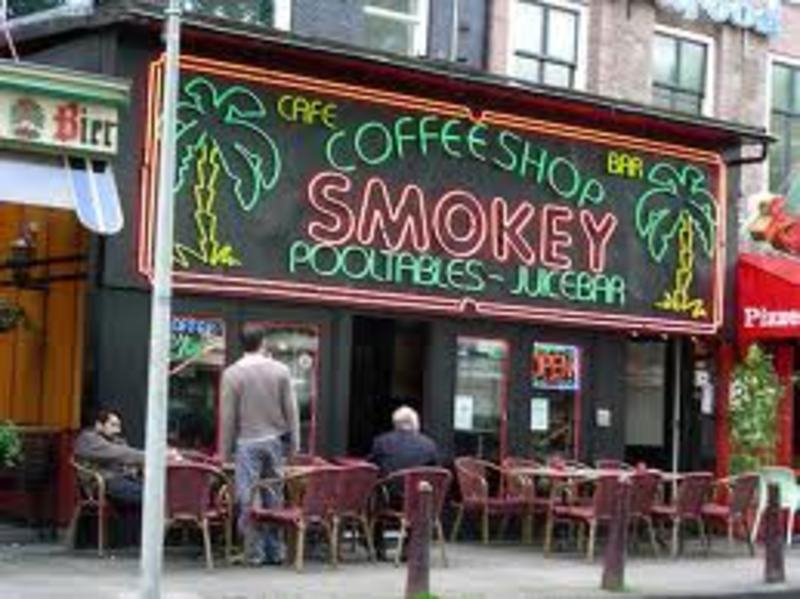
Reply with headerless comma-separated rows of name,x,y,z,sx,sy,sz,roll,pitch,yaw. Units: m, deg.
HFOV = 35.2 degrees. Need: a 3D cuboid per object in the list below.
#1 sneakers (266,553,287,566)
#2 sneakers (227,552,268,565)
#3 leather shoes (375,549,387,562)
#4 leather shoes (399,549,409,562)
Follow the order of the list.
sneakers,-1.343,2.826,13.543,0.226,0.092,0.080,-5,-8,27
sneakers,-1.639,2.783,13.391,0.397,0.150,0.134,-4,-10,15
leather shoes,-0.223,2.935,14.330,0.099,0.125,0.128,2,-4,-22
leather shoes,0.041,2.965,14.469,0.127,0.115,0.049,6,0,30
